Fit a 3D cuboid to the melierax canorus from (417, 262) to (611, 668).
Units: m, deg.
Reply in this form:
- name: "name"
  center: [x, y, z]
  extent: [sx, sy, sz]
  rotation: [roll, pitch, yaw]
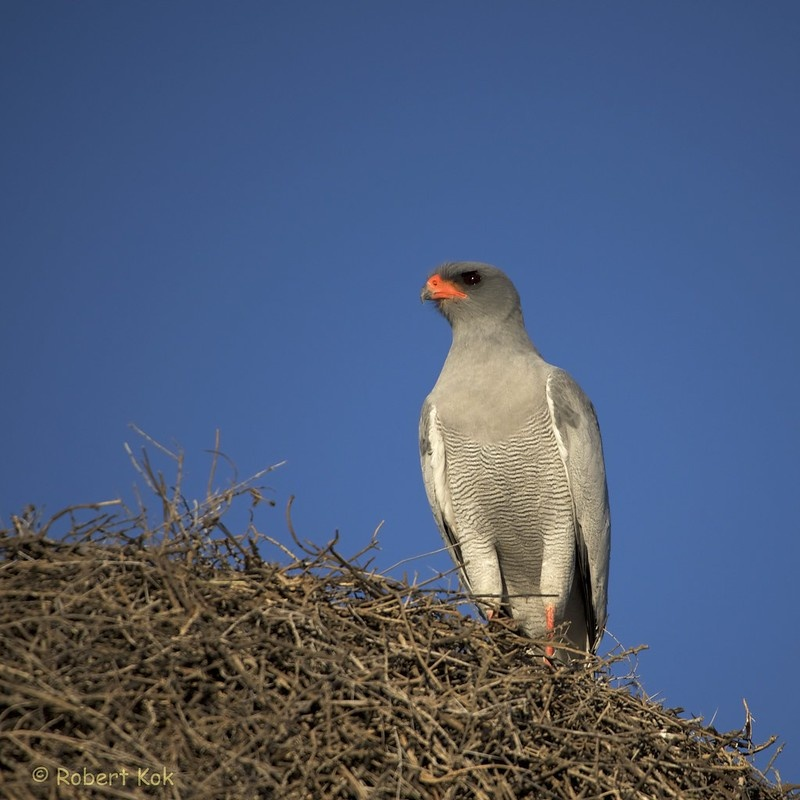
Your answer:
- name: "melierax canorus"
  center: [0.268, 0.188, 4.448]
  extent: [0.457, 0.969, 0.811]
  rotation: [-11, -56, 13]
